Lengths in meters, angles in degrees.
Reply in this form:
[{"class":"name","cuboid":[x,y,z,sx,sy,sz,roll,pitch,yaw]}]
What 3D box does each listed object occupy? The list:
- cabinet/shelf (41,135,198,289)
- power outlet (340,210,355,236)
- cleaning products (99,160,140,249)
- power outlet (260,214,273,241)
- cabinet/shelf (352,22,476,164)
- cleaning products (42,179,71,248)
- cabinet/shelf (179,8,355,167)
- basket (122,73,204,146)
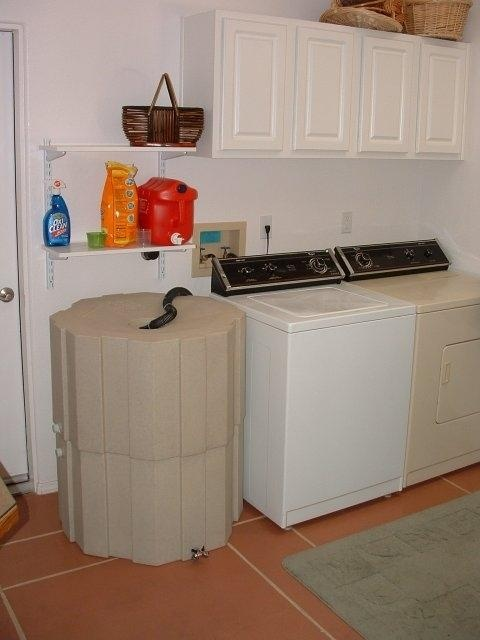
[{"class":"cabinet/shelf","cuboid":[-0.487,-0.437,2.093,0.527,0.521,0.235,-8,19,-32]},{"class":"power outlet","cuboid":[0.570,-0.525,2.894,0.128,0.169,0.017,-8,15,-41]},{"class":"cleaning products","cuboid":[-0.443,-0.432,2.044,0.181,0.313,0.126,-5,11,-36]},{"class":"power outlet","cuboid":[0.129,-0.448,2.611,0.079,0.117,0.027,-6,11,-40]},{"class":"cabinet/shelf","cuboid":[0.841,-1.073,2.584,0.566,0.473,0.216,8,33,18]},{"class":"cleaning products","cuboid":[-0.672,-0.364,1.987,0.091,0.193,0.063,-2,9,-22]},{"class":"cabinet/shelf","cuboid":[0.097,-0.926,2.124,0.644,0.449,0.221,-10,19,-34]},{"class":"basket","cuboid":[-0.297,-0.795,2.054,0.319,0.271,0.150,-6,26,-18]}]
